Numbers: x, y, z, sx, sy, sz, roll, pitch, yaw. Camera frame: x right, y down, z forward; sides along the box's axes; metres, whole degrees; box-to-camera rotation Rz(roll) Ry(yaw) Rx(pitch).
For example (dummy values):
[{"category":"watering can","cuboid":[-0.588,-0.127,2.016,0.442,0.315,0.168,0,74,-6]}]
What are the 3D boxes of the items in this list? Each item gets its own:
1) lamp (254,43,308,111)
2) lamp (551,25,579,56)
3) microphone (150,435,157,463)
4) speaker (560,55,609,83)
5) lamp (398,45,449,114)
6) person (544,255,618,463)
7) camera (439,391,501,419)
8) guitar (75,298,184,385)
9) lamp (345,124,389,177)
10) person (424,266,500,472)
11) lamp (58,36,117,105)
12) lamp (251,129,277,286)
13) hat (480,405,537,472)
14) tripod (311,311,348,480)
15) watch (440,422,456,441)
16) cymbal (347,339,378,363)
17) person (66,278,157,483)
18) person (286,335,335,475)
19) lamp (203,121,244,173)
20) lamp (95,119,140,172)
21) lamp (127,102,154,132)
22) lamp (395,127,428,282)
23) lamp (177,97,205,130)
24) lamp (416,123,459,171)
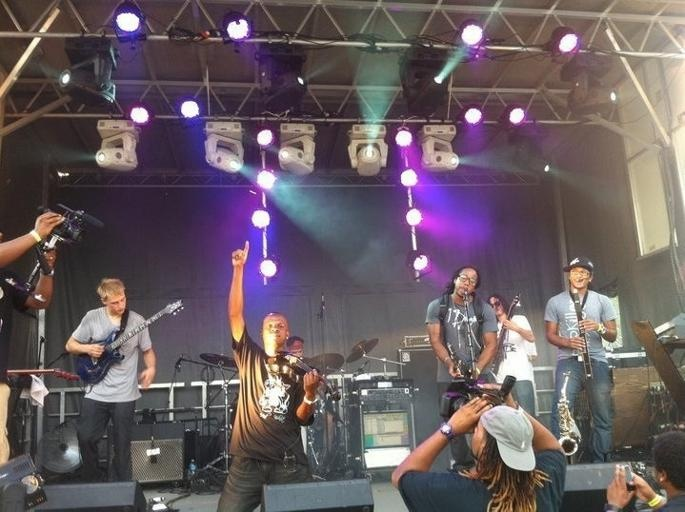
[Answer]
[{"category":"lamp","cuboid":[-0.789,-2.329,7.714,0.441,0.824,0.547,2,2,44]},{"category":"lamp","cuboid":[2.867,-2.749,7.568,0.292,0.359,0.254,5,7,9]},{"category":"microphone","cuboid":[-2.430,2.513,7.607,0.139,0.283,0.071,-2,-10,1]},{"category":"speaker","cuboid":[3.294,-2.571,7.963,0.634,0.171,0.598,-8,-15,22]},{"category":"lamp","cuboid":[1.062,-2.348,7.866,0.628,0.646,1.156,-1,-18,-3]},{"category":"person","cuboid":[2.612,1.170,6.375,0.658,2.276,0.798,-2,0,6]},{"category":"camera","cuboid":[0.832,0.974,3.852,0.317,0.180,0.190,1,-7,9]},{"category":"guitar","cuboid":[-2.494,1.008,6.592,0.913,1.060,0.727,2,-2,-21]},{"category":"lamp","cuboid":[0.371,-1.629,8.752,0.538,0.616,0.715,-2,-13,1]},{"category":"person","cuboid":[1.300,1.230,6.309,0.669,2.128,0.806,-2,4,13]},{"category":"lamp","cuboid":[-3.085,-2.267,7.153,0.616,0.730,0.376,-2,-12,-1]},{"category":"lamp","cuboid":[-1.163,-0.717,8.943,0.190,2.380,0.433,6,14,24]},{"category":"hat","cuboid":[0.993,1.089,3.509,0.308,0.382,0.129,0,-12,-10]},{"category":"tripod","cuboid":[-0.173,1.937,8.314,0.414,2.259,0.501,3,-2,-4]},{"category":"watch","cuboid":[0.639,1.075,3.632,0.075,0.114,0.111,-35,-24,-5]},{"category":"cymbal","cuboid":[0.263,1.358,8.548,0.409,0.303,0.423,0,-13,-10]},{"category":"person","cuboid":[-2.537,1.387,6.438,1.055,2.804,0.822,1,-9,-18]},{"category":"person","cuboid":[-0.480,2.172,8.254,0.693,2.061,0.828,3,-2,-1]},{"category":"lamp","cuboid":[-1.737,-1.605,8.566,0.537,0.633,0.462,0,-13,-8]},{"category":"lamp","cuboid":[-3.166,-1.594,8.300,0.556,0.677,0.476,0,-13,-10]},{"category":"lamp","cuboid":[-2.782,-1.942,8.202,0.271,0.347,0.108,-2,-4,-1]},{"category":"lamp","cuboid":[1.110,-0.866,9.200,0.534,2.971,0.411,-5,11,-1]},{"category":"lamp","cuboid":[-2.129,-2.070,8.252,0.296,0.423,0.291,2,-13,-16]},{"category":"lamp","cuboid":[1.414,-1.632,8.682,0.500,0.630,0.372,-3,-13,6]}]
